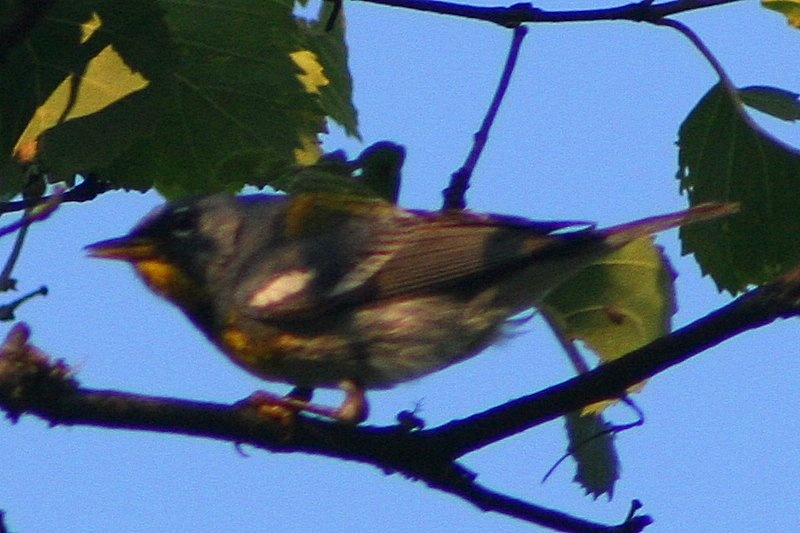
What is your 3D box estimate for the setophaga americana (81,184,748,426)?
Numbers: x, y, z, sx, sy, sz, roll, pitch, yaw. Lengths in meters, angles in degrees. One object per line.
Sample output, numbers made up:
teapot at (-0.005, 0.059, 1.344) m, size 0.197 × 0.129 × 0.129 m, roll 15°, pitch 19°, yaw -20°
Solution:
setophaga americana at (-0.038, 0.024, 1.483) m, size 0.721 × 0.184 × 0.179 m, roll 0°, pitch -6°, yaw 7°
